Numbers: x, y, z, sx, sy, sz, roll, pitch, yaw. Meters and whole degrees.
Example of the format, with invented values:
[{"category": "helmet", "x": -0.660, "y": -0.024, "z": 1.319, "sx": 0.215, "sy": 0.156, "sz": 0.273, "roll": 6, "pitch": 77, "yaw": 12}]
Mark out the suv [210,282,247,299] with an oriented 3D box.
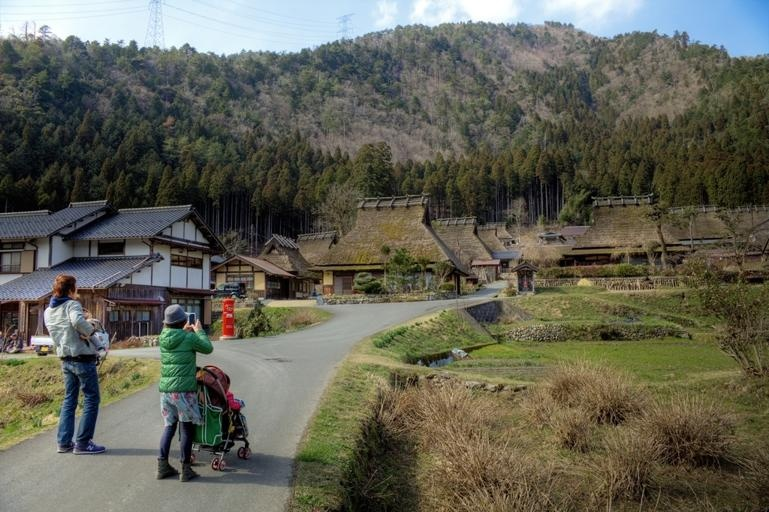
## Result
[{"category": "suv", "x": -16.656, "y": 3.865, "z": 82.283, "sx": 2.829, "sy": 1.453, "sz": 1.826, "roll": 2, "pitch": -2, "yaw": 2}]
